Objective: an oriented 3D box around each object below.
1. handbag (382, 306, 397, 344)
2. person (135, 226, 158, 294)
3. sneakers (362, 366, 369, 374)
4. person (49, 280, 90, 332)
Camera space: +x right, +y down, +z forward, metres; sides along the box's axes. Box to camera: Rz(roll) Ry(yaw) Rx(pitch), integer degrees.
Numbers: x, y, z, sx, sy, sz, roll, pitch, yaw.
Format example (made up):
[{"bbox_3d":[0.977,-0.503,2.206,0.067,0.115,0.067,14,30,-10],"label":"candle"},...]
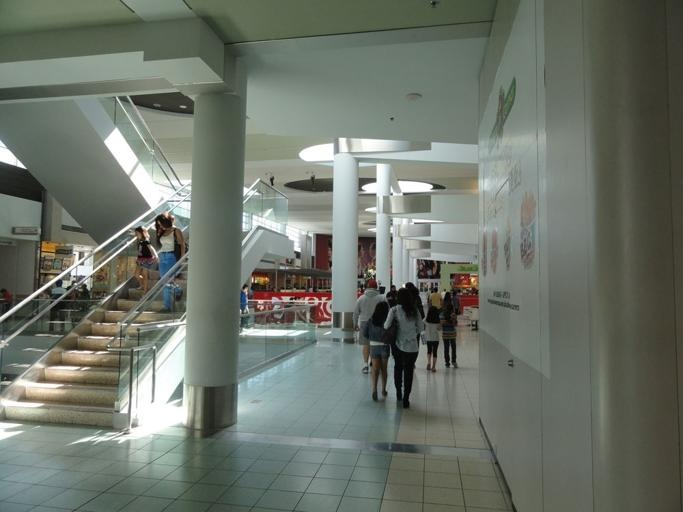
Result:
[{"bbox_3d":[0.714,1.001,7.032,0.191,0.538,0.248,-1,-4,21],"label":"handbag"},{"bbox_3d":[-3.696,0.058,9.246,0.393,1.216,0.286,2,-4,-22],"label":"person"},{"bbox_3d":[0.462,2.192,9.447,0.104,0.119,0.134,-4,-5,7],"label":"sneakers"},{"bbox_3d":[-4.385,0.793,7.792,0.351,0.795,0.880,0,-3,10],"label":"person"}]
